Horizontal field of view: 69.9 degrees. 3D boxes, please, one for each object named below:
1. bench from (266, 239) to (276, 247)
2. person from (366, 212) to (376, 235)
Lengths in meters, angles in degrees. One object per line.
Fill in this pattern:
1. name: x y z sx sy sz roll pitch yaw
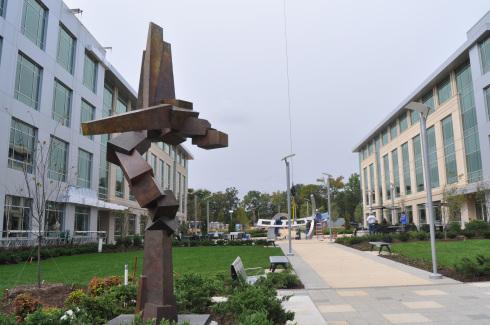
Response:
1. bench: 2.552 7.795 34.071 0.912 0.942 0.971 0 -11 -1
2. person: 12.348 5.963 33.980 0.780 2.512 0.687 -3 11 12
